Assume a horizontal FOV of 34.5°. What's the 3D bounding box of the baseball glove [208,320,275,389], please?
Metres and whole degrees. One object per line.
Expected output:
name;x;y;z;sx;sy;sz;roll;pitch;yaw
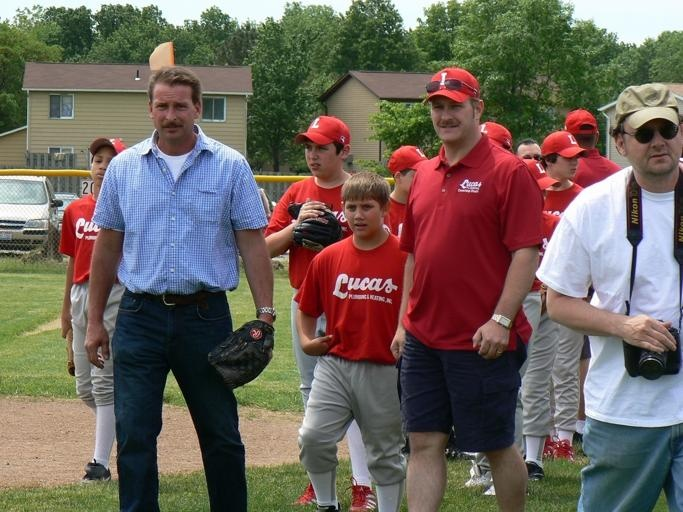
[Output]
baseball glove;-0.634;0.642;7.221;0.504;0.342;0.179;-37;-2;-27

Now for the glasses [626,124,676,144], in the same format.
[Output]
glasses;1.787;-0.699;6.255;0.150;0.047;0.143;-6;-5;4

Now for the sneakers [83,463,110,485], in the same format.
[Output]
sneakers;-1.862;1.647;8.357;0.124;0.117;0.206;-1;-13;11

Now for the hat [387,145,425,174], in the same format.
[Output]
hat;0.515;-0.772;8.796;0.304;0.158;0.200;-19;10;8

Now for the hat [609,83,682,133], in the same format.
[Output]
hat;1.752;-0.855;6.443;0.275;0.172;0.344;-1;-3;2

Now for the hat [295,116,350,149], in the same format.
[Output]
hat;-0.122;-0.946;8.481;0.369;0.183;0.249;4;2;-29

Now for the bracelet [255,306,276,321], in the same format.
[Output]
bracelet;-0.500;0.366;7.251;0.108;0.056;0.106;8;-31;-6

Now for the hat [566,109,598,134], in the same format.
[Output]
hat;2.279;-1.285;10.500;0.249;0.156;0.352;1;10;3

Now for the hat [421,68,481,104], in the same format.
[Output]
hat;0.719;-1.118;7.214;0.317;0.219;0.432;2;9;27

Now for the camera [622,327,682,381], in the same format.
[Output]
camera;1.724;0.550;6.172;0.296;0.271;0.265;3;41;8

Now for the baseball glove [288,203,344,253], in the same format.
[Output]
baseball glove;-0.161;-0.262;8.287;0.350;0.285;0.598;15;27;12

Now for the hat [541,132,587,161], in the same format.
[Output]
hat;1.915;-0.936;9.437;0.360;0.169;0.248;0;8;22
